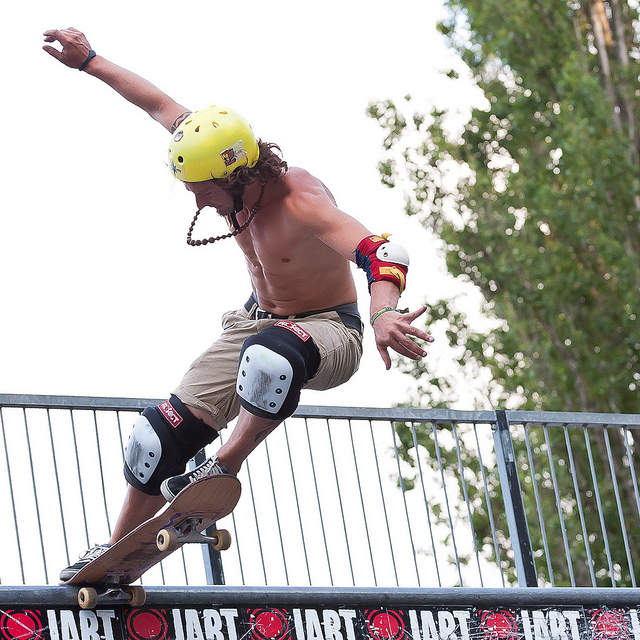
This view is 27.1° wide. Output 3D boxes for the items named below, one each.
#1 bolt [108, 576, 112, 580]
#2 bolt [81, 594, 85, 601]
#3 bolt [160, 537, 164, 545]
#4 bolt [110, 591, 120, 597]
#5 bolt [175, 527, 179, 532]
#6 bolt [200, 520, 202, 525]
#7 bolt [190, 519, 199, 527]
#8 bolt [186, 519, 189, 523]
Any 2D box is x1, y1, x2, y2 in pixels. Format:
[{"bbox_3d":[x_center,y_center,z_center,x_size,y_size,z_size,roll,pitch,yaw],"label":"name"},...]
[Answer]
[{"bbox_3d":[-1.194,1.470,7.563,0.021,0.017,0.011,11,-23,-24],"label":"bolt"},{"bbox_3d":[-1.331,1.562,7.470,0.029,0.028,0.007,11,-3,29],"label":"bolt"},{"bbox_3d":[-0.887,1.244,7.478,0.027,0.037,0.004,-12,-24,30],"label":"bolt"},{"bbox_3d":[-1.163,1.561,7.552,0.050,0.033,0.009,10,-23,-23],"label":"bolt"},{"bbox_3d":[-0.818,1.199,7.613,0.029,0.027,0.007,1,1,-19],"label":"bolt"},{"bbox_3d":[-0.689,1.173,7.711,0.011,0.019,0.026,1,-21,-1],"label":"bolt"},{"bbox_3d":[-0.725,1.168,7.663,0.033,0.046,0.015,-1,8,-2],"label":"bolt"},{"bbox_3d":[-0.761,1.159,7.649,0.009,0.016,0.021,-16,-27,38],"label":"bolt"}]
